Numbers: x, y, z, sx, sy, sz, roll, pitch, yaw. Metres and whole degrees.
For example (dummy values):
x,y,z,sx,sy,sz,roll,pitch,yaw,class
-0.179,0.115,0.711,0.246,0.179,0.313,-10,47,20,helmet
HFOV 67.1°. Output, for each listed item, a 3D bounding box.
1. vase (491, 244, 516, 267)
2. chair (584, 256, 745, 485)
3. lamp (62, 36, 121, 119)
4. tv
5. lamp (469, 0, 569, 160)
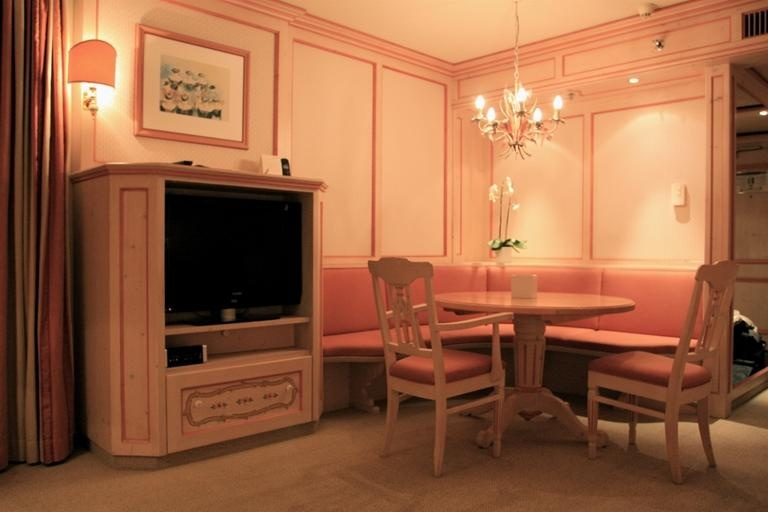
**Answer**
x,y,z,sx,sy,sz,roll,pitch,yaw,class
1.221,0.003,5.957,0.302,0.268,0.213,0,-5,2,vase
1.987,0.768,4.151,0.953,1.486,0.659,4,11,19,chair
-2.215,-1.356,4.392,0.352,0.563,0.234,-5,11,-24,lamp
-1.237,0.026,4.593,1.205,0.959,0.267,0,0,-30,tv
1.323,-1.684,5.623,0.943,1.417,2.291,2,10,10,lamp
